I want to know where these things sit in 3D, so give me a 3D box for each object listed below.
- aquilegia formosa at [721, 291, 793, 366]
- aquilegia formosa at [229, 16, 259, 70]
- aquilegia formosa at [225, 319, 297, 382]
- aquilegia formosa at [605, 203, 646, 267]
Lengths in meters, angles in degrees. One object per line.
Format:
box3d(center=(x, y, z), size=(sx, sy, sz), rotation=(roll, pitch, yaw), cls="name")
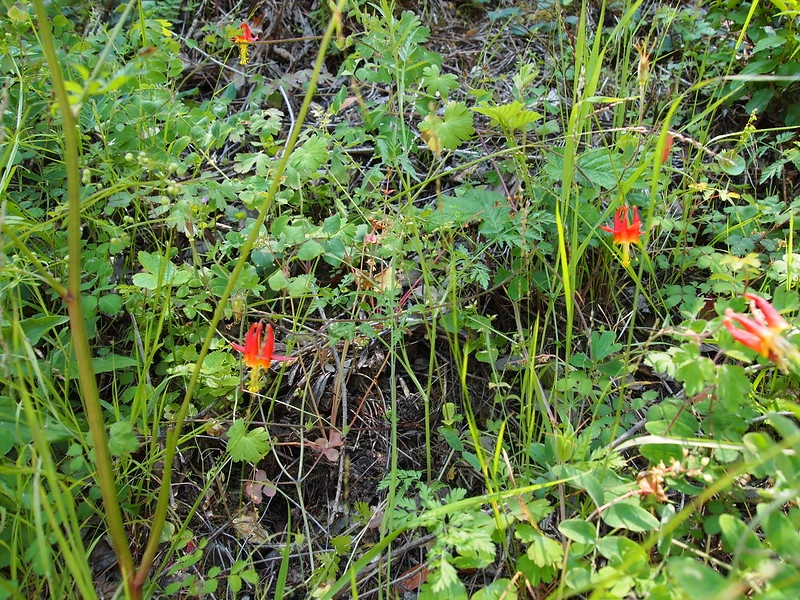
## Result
box3d(center=(1.155, 0.094, 2.034), size=(0.147, 0.136, 0.207), rotation=(22, 12, -48), cls="aquilegia formosa")
box3d(center=(-0.853, -1.440, 3.462), size=(0.103, 0.190, 0.109), rotation=(-25, 44, -37), cls="aquilegia formosa")
box3d(center=(-0.586, 0.224, 2.536), size=(0.161, 0.222, 0.203), rotation=(3, 1, -11), cls="aquilegia formosa")
box3d(center=(0.969, -0.278, 2.713), size=(0.181, 0.272, 0.202), rotation=(-4, -6, 34), cls="aquilegia formosa")
